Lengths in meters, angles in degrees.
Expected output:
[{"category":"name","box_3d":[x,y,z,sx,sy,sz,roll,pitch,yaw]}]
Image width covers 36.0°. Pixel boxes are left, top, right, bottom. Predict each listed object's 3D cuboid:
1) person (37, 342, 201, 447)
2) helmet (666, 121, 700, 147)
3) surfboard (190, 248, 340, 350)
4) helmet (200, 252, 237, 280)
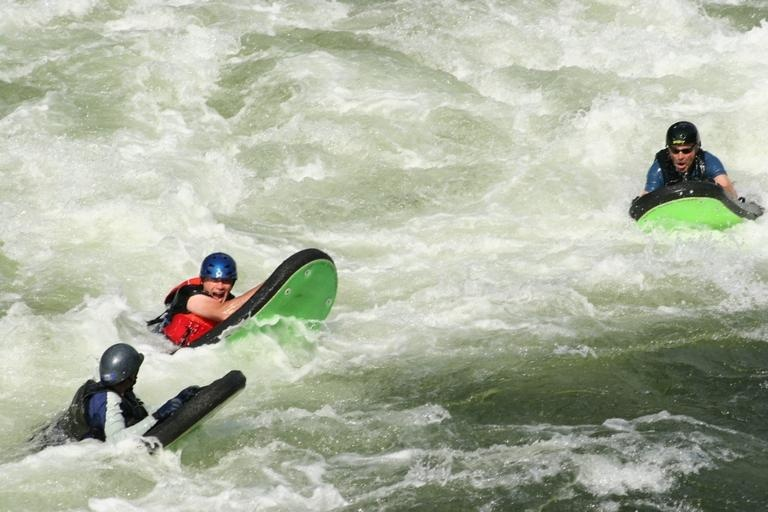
[{"category":"person","box_3d":[-3.538,1.873,15.321,1.827,1.452,0.728,8,21,-3]},{"category":"helmet","box_3d":[4.806,-1.975,18.982,0.475,0.324,0.492,0,23,18]},{"category":"surfboard","box_3d":[-1.474,0.527,16.700,1.135,2.405,0.272,80,-15,-71]},{"category":"helmet","box_3d":[-2.415,0.147,16.932,0.472,0.410,0.393,5,22,-10]}]
